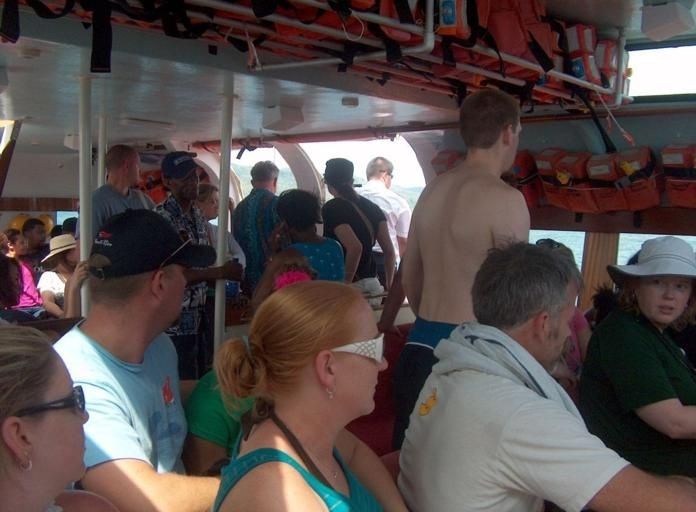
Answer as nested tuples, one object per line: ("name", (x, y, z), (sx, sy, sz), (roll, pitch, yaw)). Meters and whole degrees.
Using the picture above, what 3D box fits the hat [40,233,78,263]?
("hat", (-3.192, -0.078, 6.111), (0.420, 0.220, 0.325), (-21, -7, -26))

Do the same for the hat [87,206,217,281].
("hat", (-0.870, -0.078, 2.437), (0.427, 0.232, 0.273), (-12, 10, -34))

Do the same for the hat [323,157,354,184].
("hat", (-0.101, -0.787, 5.289), (0.277, 0.199, 0.217), (-8, -20, -15))
